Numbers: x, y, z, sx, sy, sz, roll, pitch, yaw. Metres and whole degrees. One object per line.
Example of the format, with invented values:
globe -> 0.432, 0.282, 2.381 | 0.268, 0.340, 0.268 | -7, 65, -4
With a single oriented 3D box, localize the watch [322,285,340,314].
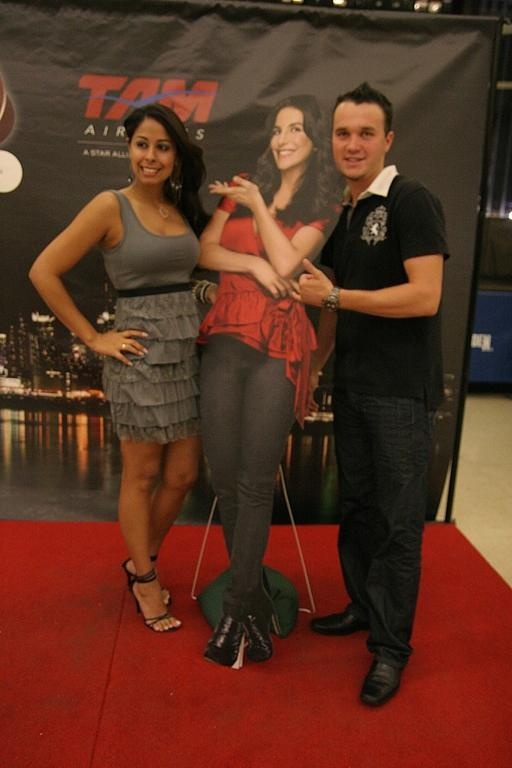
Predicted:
watch -> 0.208, -0.240, 1.739 | 0.042, 0.061, 0.059 | 11, 38, 4

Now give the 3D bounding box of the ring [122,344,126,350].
ring -> -0.398, -0.114, 1.896 | 0.010, 0.017, 0.006 | 6, 10, 21

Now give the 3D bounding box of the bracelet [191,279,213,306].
bracelet -> -0.166, -0.307, 2.086 | 0.072, 0.074, 0.027 | 4, -2, 0

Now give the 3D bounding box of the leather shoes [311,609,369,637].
leather shoes -> 0.271, 0.780, 2.029 | 0.202, 0.073, 0.078 | 2, 1, -7

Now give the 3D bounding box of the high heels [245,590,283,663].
high heels -> 0.014, 0.715, 1.879 | 0.074, 0.211, 0.087 | -8, -5, 30

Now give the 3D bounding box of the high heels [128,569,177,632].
high heels -> -0.346, 0.690, 2.055 | 0.094, 0.110, 0.276 | -7, 13, -25

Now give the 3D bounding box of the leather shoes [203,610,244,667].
leather shoes -> -0.087, 0.759, 1.829 | 0.097, 0.149, 0.062 | 7, 6, 19

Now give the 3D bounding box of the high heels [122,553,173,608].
high heels -> -0.377, 0.685, 2.167 | 0.097, 0.114, 0.278 | -1, 0, -31
